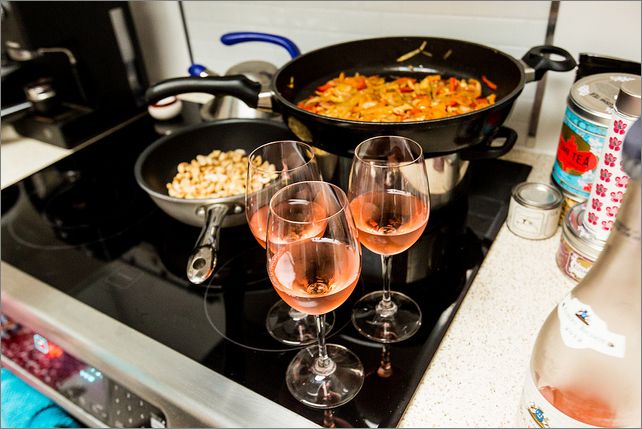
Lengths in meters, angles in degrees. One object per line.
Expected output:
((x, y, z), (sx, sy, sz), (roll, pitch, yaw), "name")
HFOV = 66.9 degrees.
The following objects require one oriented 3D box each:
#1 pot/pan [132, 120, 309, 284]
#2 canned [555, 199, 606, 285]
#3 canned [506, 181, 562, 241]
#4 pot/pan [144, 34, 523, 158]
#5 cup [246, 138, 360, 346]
((-0.214, -0.005, 1.070), (0.363, 0.118, 0.587), (-7, 30, -8), "pot/pan")
((0.497, 0.060, 0.997), (0.120, 0.126, 0.123), (-7, 39, 4), "canned")
((0.464, -0.008, 1.091), (0.114, 0.091, 0.123), (-1, 36, 5), "canned")
((0.084, -0.284, 1.162), (0.659, 0.110, 0.416), (-3, 34, -2), "pot/pan")
((-0.052, 0.033, 0.963), (0.167, 0.133, 0.413), (0, 60, 2), "cup")
